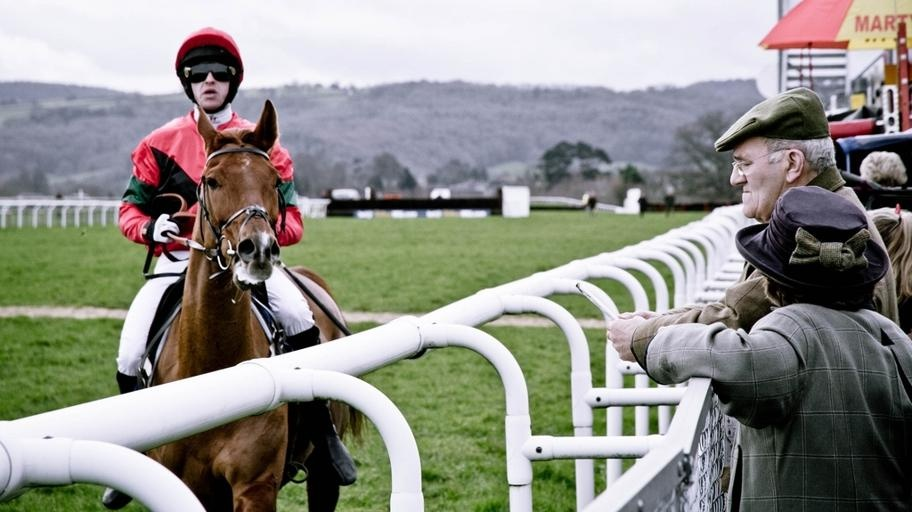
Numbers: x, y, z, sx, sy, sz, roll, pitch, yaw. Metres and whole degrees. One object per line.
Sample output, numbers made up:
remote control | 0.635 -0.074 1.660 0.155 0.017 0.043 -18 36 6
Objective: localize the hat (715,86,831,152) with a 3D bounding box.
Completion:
hat | 2.846 -1.157 13.585 0.569 0.364 0.738 4 -13 -39
